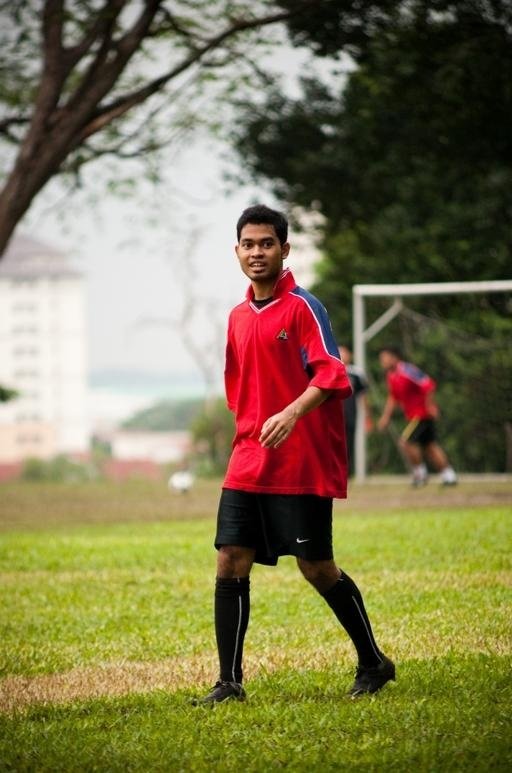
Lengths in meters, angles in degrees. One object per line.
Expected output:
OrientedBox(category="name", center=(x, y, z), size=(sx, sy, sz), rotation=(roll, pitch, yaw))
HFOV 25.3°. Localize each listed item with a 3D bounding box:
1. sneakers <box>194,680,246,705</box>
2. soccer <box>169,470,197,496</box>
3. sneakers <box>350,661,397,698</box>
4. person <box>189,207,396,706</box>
OrientedBox(category="sneakers", center=(-0.137, 1.207, 4.503), size=(0.243, 0.070, 0.082), rotation=(3, -7, -29))
OrientedBox(category="soccer", center=(-1.095, 1.461, 16.970), size=(0.304, 0.273, 0.345), rotation=(3, 8, -6))
OrientedBox(category="sneakers", center=(0.484, 1.178, 4.643), size=(0.244, 0.096, 0.081), rotation=(-25, 6, -37))
OrientedBox(category="person", center=(0.093, 0.251, 4.544), size=(0.776, 1.910, 0.630), rotation=(-4, 0, 9))
